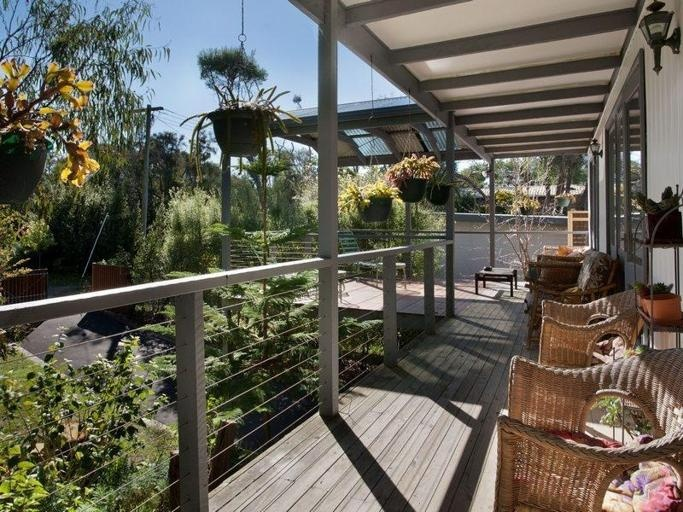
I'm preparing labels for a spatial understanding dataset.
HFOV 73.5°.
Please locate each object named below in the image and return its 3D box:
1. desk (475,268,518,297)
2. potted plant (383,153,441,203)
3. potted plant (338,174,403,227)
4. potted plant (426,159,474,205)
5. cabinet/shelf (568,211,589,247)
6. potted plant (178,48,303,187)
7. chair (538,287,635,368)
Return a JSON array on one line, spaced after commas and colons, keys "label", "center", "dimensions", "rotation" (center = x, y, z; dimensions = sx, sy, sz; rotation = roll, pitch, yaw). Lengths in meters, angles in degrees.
[{"label": "desk", "center": [2.901, 0.432, 8.501], "dimensions": [0.684, 0.403, 1.556], "rotation": [0, 5, 22]}, {"label": "potted plant", "center": [0.700, -0.711, 4.548], "dimensions": [0.448, 0.453, 0.471], "rotation": [-1, -2, -17]}, {"label": "potted plant", "center": [0.323, -0.522, 4.402], "dimensions": [0.556, 0.445, 0.590], "rotation": [-5, 2, 38]}, {"label": "potted plant", "center": [1.070, -0.789, 5.182], "dimensions": [0.662, 0.420, 0.514], "rotation": [-5, -6, 31]}, {"label": "cabinet/shelf", "center": [5.667, -0.662, 10.963], "dimensions": [0.424, 0.870, 1.287], "rotation": [1, 5, 26]}, {"label": "potted plant", "center": [-0.589, -0.897, 2.698], "dimensions": [0.429, 0.702, 0.619], "rotation": [2, 15, -9]}, {"label": "chair", "center": [1.622, 0.479, 3.062], "dimensions": [0.595, 0.615, 0.579], "rotation": [-2, 1, 20]}]
